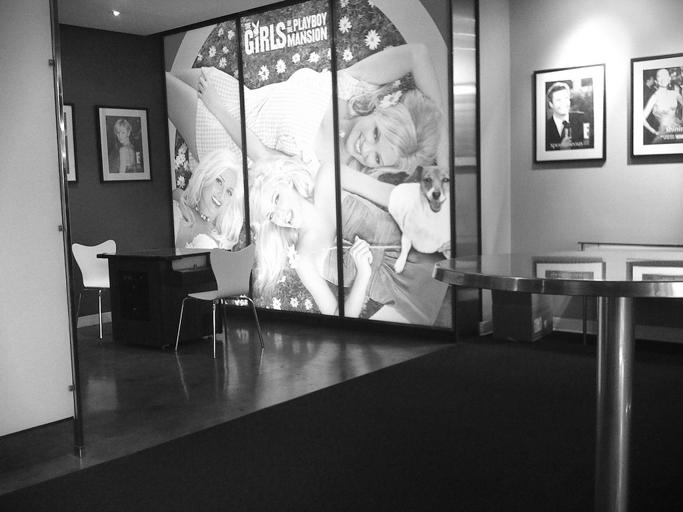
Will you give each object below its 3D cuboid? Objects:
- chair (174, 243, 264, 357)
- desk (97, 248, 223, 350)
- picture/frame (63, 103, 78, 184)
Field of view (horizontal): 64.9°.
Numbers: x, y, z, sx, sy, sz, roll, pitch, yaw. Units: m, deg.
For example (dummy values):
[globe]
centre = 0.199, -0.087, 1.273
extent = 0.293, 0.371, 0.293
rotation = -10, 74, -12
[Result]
[chair]
centre = -1.215, 0.398, 5.653
extent = 1.012, 1.127, 0.933
rotation = 7, 10, 34
[desk]
centre = -1.937, 0.448, 5.964
extent = 1.013, 1.161, 0.936
rotation = 1, 4, 26
[picture/frame]
centre = -3.430, -1.437, 6.783
extent = 0.103, 0.994, 0.338
rotation = -2, 8, -25
